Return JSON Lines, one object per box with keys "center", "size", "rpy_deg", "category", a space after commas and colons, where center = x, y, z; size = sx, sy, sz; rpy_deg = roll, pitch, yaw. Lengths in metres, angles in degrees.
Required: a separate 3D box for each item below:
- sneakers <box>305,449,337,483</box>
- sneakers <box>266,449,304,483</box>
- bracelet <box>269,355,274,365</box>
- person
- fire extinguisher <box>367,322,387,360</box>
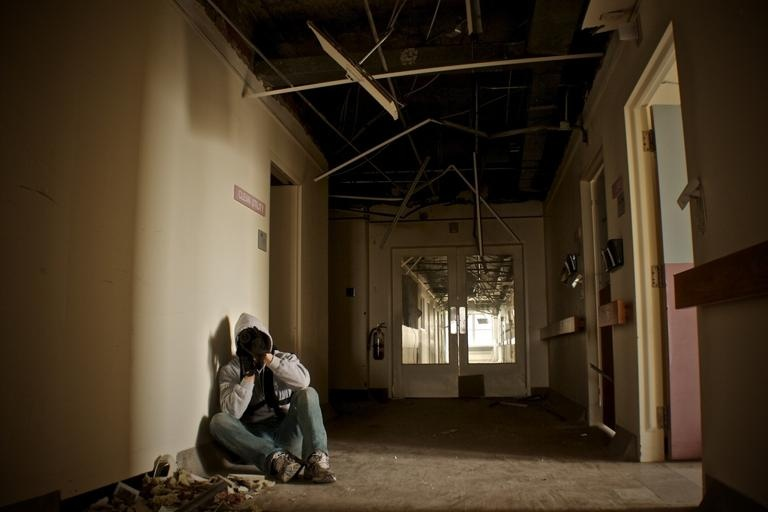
{"center": [-0.450, 1.509, 4.126], "size": [0.122, 0.143, 0.324], "rpy_deg": [8, -26, -20], "category": "sneakers"}
{"center": [-0.720, 1.516, 4.184], "size": [0.146, 0.127, 0.311], "rpy_deg": [26, -23, -16], "category": "sneakers"}
{"center": [-0.857, 0.795, 4.421], "size": [0.054, 0.058, 0.014], "rpy_deg": [-5, -1, 4], "category": "bracelet"}
{"center": [-0.846, 1.045, 4.477], "size": [1.025, 1.220, 0.457], "rpy_deg": [-3, -8, 18], "category": "person"}
{"center": [-0.118, 1.354, 9.305], "size": [0.302, 0.607, 0.100], "rpy_deg": [0, -7, -3], "category": "fire extinguisher"}
